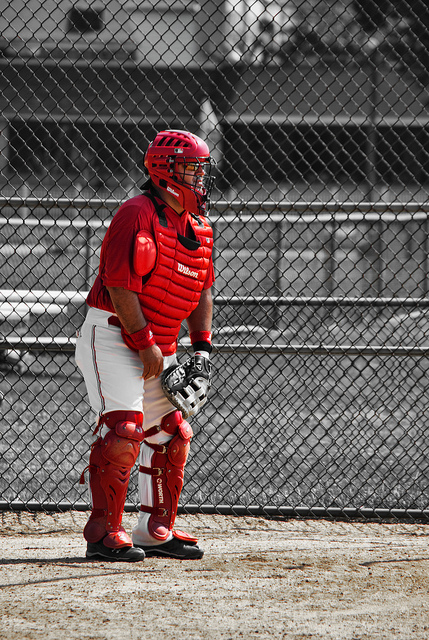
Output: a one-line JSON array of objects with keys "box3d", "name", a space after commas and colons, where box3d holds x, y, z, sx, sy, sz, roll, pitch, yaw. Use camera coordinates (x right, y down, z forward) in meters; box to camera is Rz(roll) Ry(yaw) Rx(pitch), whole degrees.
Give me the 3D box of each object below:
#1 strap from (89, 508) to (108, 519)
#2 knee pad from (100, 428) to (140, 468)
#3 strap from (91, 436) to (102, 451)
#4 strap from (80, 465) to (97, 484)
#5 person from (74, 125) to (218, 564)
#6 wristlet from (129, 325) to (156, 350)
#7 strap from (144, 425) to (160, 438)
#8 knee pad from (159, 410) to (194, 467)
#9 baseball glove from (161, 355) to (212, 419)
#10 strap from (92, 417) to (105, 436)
[{"box3d": [-0.513, 0.858, 4.337, 0.060, 0.041, 0.043, 2, 3, -4], "name": "strap"}, {"box3d": [-0.413, 0.566, 4.308, 0.168, 0.185, 0.089, 1, 4, -7], "name": "knee pad"}, {"box3d": [-0.522, 0.552, 4.361, 0.020, 0.055, 0.040, 49, 0, -6], "name": "strap"}, {"box3d": [-0.555, 0.695, 4.380, 0.077, 0.092, 0.042, 2, 5, 1], "name": "strap"}, {"box3d": [-0.269, 0.114, 4.473, 0.684, 1.980, 0.393, -2, 5, -36], "name": "person"}, {"box3d": [-0.305, 0.080, 4.298, 0.108, 0.080, 0.100, -19, 12, 23], "name": "wristlet"}, {"box3d": [-0.281, 0.517, 4.531, 0.053, 0.027, 0.066, -2, -36, -11], "name": "strap"}, {"box3d": [-0.162, 0.544, 4.549, 0.106, 0.271, 0.162, 4, 5, 38], "name": "knee pad"}, {"box3d": [-0.122, 0.310, 4.573, 0.160, 0.281, 0.319, 3, 4, 24], "name": "baseball glove"}, {"box3d": [-0.513, 0.474, 4.366, 0.030, 0.076, 0.056, 39, 12, -28], "name": "strap"}]
